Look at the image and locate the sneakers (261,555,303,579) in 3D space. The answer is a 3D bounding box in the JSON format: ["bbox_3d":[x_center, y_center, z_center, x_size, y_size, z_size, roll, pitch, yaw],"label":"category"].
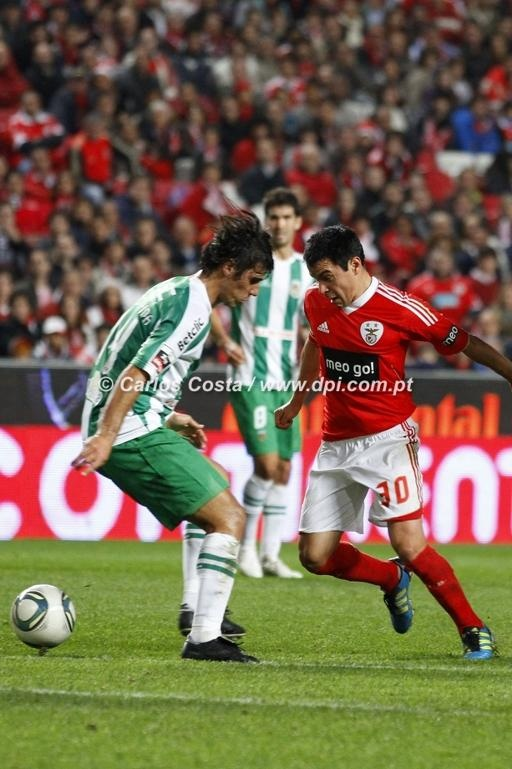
[{"bbox_3d":[0.189,1.089,5.301,0.314,0.095,0.109,5,90,2],"label":"sneakers"}]

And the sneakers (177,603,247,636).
[{"bbox_3d":[-0.179,0.949,3.589,0.353,0.112,0.128,3,89,2],"label":"sneakers"}]

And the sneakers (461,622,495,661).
[{"bbox_3d":[0.806,0.933,3.253,0.069,0.183,0.076,-24,91,18],"label":"sneakers"}]

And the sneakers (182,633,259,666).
[{"bbox_3d":[-0.142,0.910,3.064,0.304,0.092,0.092,2,80,4],"label":"sneakers"}]
